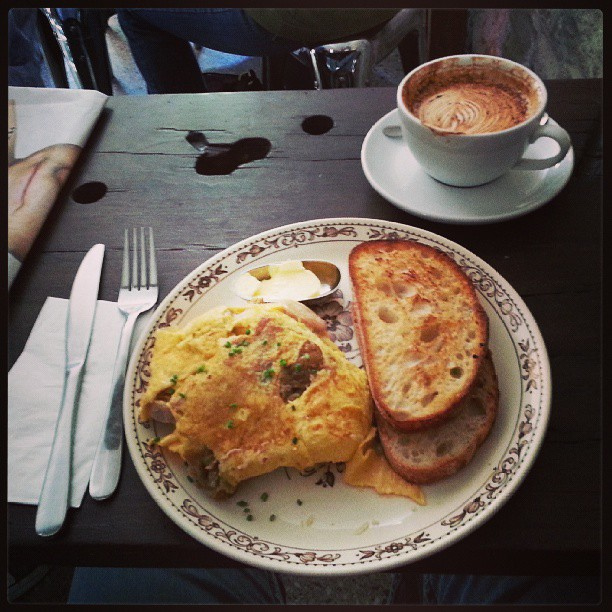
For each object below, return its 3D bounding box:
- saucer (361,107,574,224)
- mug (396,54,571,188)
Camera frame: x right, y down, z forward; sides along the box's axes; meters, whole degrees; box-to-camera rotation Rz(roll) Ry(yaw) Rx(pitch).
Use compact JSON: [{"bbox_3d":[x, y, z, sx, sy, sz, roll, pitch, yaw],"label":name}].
[{"bbox_3d":[0.345,-0.400,1.319,0.416,0.251,0.346,-1,35,4],"label":"saucer"},{"bbox_3d":[0.347,-0.399,1.242,0.315,0.156,0.271,28,63,23],"label":"mug"}]
